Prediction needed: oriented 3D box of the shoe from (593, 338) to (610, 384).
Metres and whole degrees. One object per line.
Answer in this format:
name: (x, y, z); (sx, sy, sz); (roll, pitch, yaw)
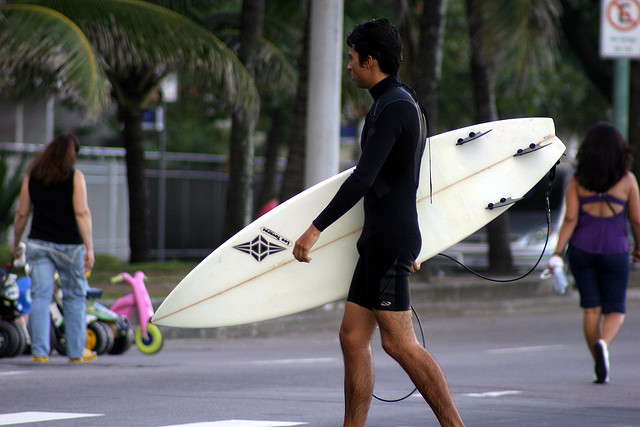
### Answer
shoe: (3.575, 1.844, 21.278); (0.177, 0.561, 0.232); (2, 9, 20)

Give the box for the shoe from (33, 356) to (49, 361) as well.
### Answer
shoe: (-3.594, 1.873, 21.962); (0.152, 0.057, 0.282); (-4, -1, 27)

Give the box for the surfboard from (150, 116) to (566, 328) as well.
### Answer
surfboard: (0.370, 0.136, 20.174); (5.432, 0.626, 1.719); (-23, -50, 14)

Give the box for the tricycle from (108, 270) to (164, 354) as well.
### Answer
tricycle: (-2.411, 1.453, 22.623); (0.997, 1.327, 0.566); (6, -4, 3)

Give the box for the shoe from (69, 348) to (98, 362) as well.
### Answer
shoe: (-3.090, 1.827, 22.047); (0.131, 0.149, 0.360); (3, 3, 44)
